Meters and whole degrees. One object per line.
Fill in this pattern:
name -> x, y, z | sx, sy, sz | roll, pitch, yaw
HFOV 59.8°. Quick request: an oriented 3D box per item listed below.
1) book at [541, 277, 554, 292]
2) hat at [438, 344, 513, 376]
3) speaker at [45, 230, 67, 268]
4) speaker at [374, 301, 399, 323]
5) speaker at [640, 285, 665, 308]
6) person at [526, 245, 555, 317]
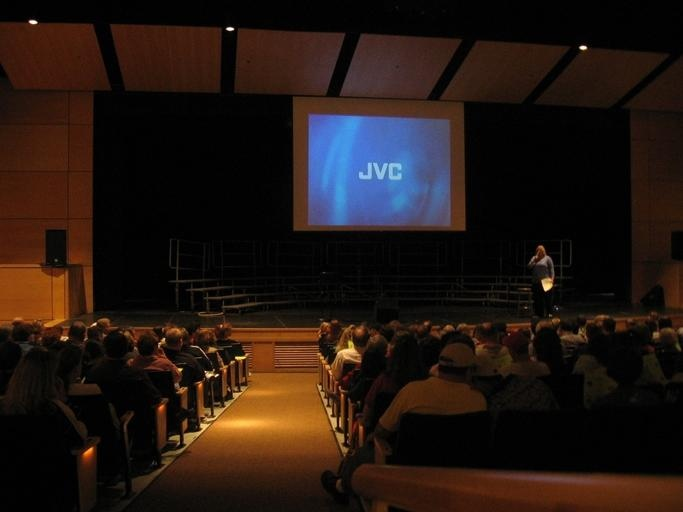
book -> 3.698, 0.500, 10.603 | 0.235, 0.196, 0.194 | -2, 3, -25
hat -> 1.006, 0.774, 4.399 | 0.455, 0.215, 0.715 | 1, -2, 37
speaker -> -5.458, -0.162, 11.372 | 0.372, 0.794, 0.218 | 2, 0, -30
speaker -> 0.765, 0.924, 10.051 | 0.339, 0.346, 0.334 | -11, 0, -6
speaker -> 7.192, 0.882, 13.635 | 0.647, 0.451, 0.383 | 2, 0, -19
person -> 3.682, 0.461, 10.907 | 0.412, 1.141, 0.848 | 2, 0, 20
